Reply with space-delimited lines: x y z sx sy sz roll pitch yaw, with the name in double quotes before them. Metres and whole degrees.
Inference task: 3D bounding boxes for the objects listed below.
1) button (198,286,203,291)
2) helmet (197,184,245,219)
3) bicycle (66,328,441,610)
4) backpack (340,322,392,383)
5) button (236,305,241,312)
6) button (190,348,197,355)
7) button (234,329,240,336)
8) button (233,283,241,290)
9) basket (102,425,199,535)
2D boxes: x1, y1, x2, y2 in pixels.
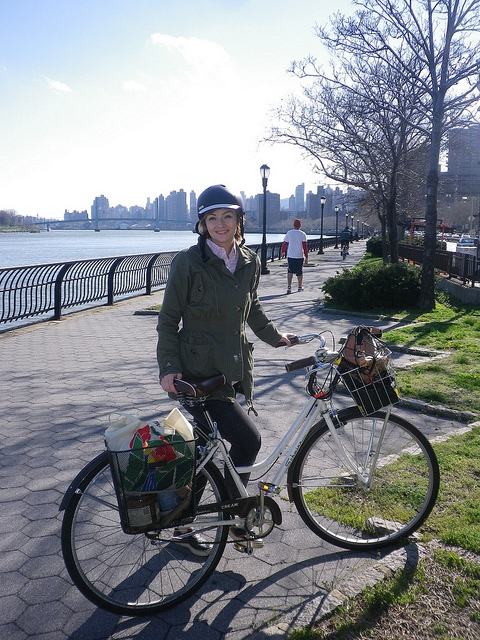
"button" -0.182 -0.147 2.405 0.020 0.020 0.005 0 8 6
"helmet" -0.092 -0.563 2.502 0.222 0.155 0.150 -1 8 -1
"bicycle" 0.088 0.662 2.474 1.841 1.140 0.837 -6 2 -16
"backpack" 0.578 0.182 2.502 0.241 0.246 0.190 -9 11 5
"button" -0.008 -0.055 2.467 0.021 0.021 0.007 -22 7 -20
"button" -0.211 0.139 2.406 0.023 0.023 0.006 -2 -18 -2
"button" -0.016 0.055 2.477 0.031 0.029 0.010 -2 -3 -6
"button" -0.014 -0.162 2.485 0.026 0.026 0.012 37 -32 -1
"basket" -0.340 0.603 2.018 0.398 0.478 0.272 -3 30 -7
